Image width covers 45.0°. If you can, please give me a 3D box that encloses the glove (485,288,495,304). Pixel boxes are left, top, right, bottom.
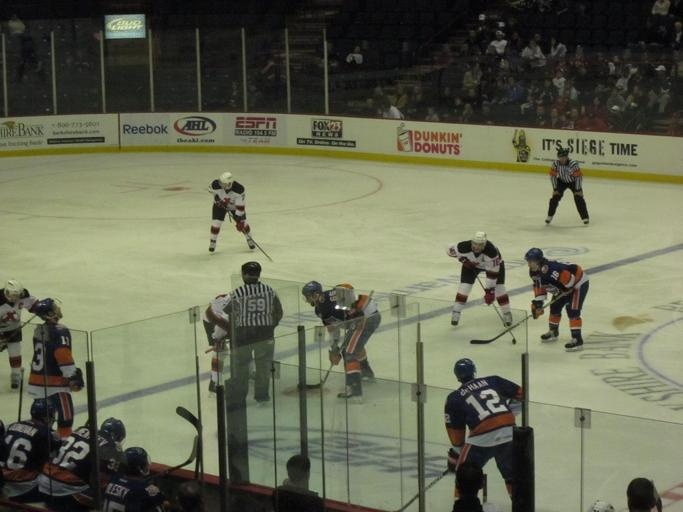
[{"bbox_3d":[2.100,0.582,11.813,0.172,0.198,0.077,10,-7,-21],"label":"glove"}]

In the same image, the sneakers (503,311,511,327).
[{"bbox_3d":[2.126,0.821,10.607,0.066,0.161,0.076,-4,4,8],"label":"sneakers"}]

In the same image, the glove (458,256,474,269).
[{"bbox_3d":[1.785,0.080,11.809,0.065,0.167,0.178,-39,11,-38],"label":"glove"}]

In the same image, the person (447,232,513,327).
[{"bbox_3d":[1.947,0.367,11.644,0.975,1.293,0.813,12,49,19],"label":"person"}]

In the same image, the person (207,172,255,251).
[{"bbox_3d":[-2.180,-0.903,16.067,1.049,1.607,0.937,-11,32,-30],"label":"person"}]

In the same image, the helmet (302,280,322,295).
[{"bbox_3d":[-0.323,0.335,8.262,0.123,0.128,0.150,-17,-27,-19],"label":"helmet"}]

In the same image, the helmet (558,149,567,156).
[{"bbox_3d":[4.520,-2.100,16.923,0.238,0.098,0.307,0,9,4],"label":"helmet"}]

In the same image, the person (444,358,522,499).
[{"bbox_3d":[1.129,1.435,6.603,0.565,0.832,0.600,0,6,13],"label":"person"}]

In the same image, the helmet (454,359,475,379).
[{"bbox_3d":[1.042,0.962,6.986,0.150,0.152,0.175,-2,-17,3],"label":"helmet"}]

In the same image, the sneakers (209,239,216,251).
[{"bbox_3d":[-2.514,-0.182,15.678,0.100,0.257,0.111,6,0,6],"label":"sneakers"}]

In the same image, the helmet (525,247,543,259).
[{"bbox_3d":[2.592,-0.015,10.944,0.239,0.187,0.172,12,2,-7],"label":"helmet"}]

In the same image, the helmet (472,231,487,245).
[{"bbox_3d":[1.883,-0.215,11.493,0.178,0.203,0.210,3,38,18],"label":"helmet"}]

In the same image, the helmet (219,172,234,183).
[{"bbox_3d":[-2.263,-1.498,15.928,0.241,0.211,0.597,-2,5,-8],"label":"helmet"}]

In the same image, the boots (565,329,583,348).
[{"bbox_3d":[3.014,1.117,10.894,0.342,0.272,0.141,-1,6,0],"label":"boots"}]

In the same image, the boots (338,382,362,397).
[{"bbox_3d":[0.062,1.059,6.452,0.210,0.121,0.054,-4,7,-32],"label":"boots"}]

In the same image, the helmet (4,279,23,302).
[{"bbox_3d":[-3.876,0.417,9.638,0.174,0.184,0.154,-46,-12,36],"label":"helmet"}]

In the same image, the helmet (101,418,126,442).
[{"bbox_3d":[-1.943,1.462,6.905,0.208,0.198,0.146,-2,6,-15],"label":"helmet"}]

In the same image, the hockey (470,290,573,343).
[{"bbox_3d":[2.345,0.794,10.522,0.175,0.284,2.230,15,24,39],"label":"hockey"}]

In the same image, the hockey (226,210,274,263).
[{"bbox_3d":[-1.881,-0.348,16.463,0.257,1.462,0.214,-51,23,-22],"label":"hockey"}]

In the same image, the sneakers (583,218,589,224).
[{"bbox_3d":[5.109,-0.721,17.218,0.105,0.119,0.049,-1,-7,12],"label":"sneakers"}]

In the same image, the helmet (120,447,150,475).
[{"bbox_3d":[-1.753,1.662,6.781,0.239,0.240,0.279,4,13,4],"label":"helmet"}]

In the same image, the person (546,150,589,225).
[{"bbox_3d":[4.708,-1.420,17.153,0.884,1.568,0.688,0,6,6],"label":"person"}]
